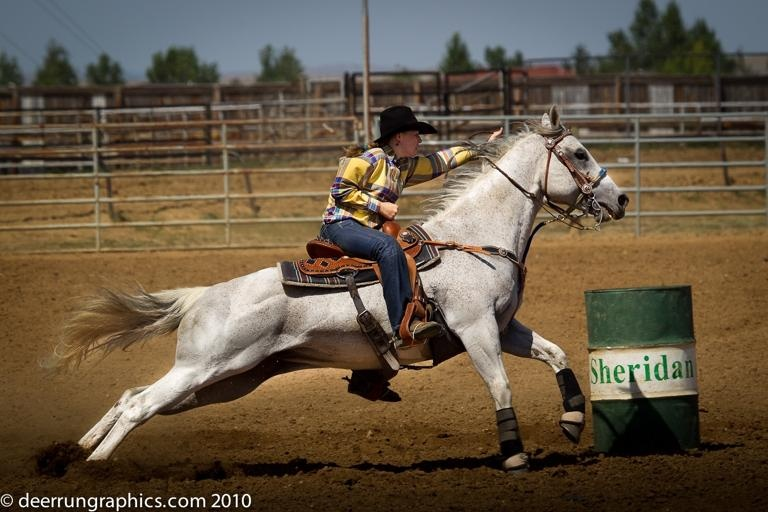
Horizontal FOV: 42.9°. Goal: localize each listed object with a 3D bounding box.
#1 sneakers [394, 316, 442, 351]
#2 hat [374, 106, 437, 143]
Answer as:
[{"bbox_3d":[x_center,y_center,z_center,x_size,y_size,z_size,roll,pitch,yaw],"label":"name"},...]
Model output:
[{"bbox_3d":[0.377,0.860,11.072,0.652,0.223,0.269,-17,47,3],"label":"sneakers"},{"bbox_3d":[0.238,-1.547,11.511,0.591,0.218,0.446,-18,3,14],"label":"hat"}]
